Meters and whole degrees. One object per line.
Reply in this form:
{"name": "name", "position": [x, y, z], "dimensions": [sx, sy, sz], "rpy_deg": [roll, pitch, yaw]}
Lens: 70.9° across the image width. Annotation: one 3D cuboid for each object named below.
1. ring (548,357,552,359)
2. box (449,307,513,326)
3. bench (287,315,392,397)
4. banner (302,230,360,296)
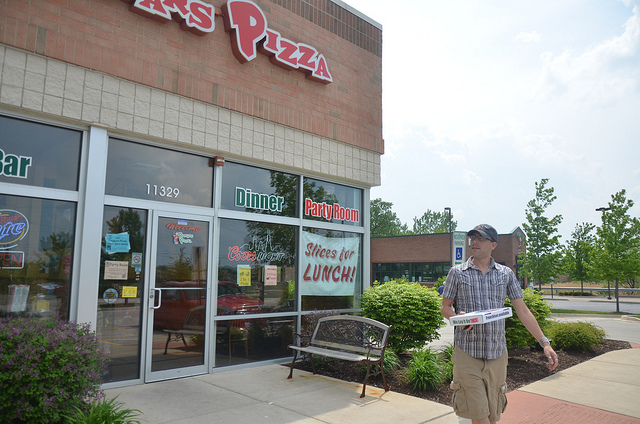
{"name": "ring", "position": [3.100, 1.973, 6.073], "dimensions": [0.040, 0.037, 0.051], "rpy_deg": [2, -5, -6]}
{"name": "box", "position": [2.160, 1.415, 6.022], "dimensions": [0.793, 0.265, 0.419], "rpy_deg": [3, -5, -14]}
{"name": "bench", "position": [0.415, 2.955, 9.678], "dimensions": [0.930, 1.421, 2.217], "rpy_deg": [6, -7, -43]}
{"name": "banner", "position": [0.211, 1.366, 11.984], "dimensions": [1.696, 1.366, 0.069], "rpy_deg": [8, -11, -39]}
